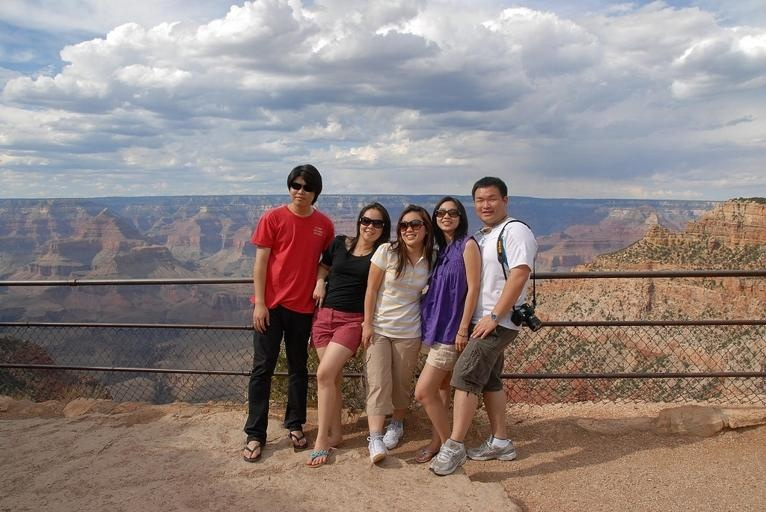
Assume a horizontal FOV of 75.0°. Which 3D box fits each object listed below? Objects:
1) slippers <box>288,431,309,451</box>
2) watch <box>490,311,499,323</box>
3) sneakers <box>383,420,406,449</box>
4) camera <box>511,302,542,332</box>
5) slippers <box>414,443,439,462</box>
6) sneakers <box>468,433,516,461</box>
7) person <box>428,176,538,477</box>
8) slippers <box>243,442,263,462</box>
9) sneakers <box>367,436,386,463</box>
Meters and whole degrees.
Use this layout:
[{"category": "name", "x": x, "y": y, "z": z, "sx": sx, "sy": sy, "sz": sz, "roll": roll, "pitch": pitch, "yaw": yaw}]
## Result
[{"category": "slippers", "x": -0.883, "y": 1.910, "z": 5.134, "sx": 0.121, "sy": 0.052, "sz": 0.228, "roll": 0, "pitch": 27, "yaw": -41}, {"category": "watch", "x": 1.028, "y": 0.571, "z": 4.691, "sx": 0.055, "sy": 0.086, "sz": 0.085, "roll": -34, "pitch": -17, "yaw": -1}, {"category": "sneakers", "x": 0.097, "y": 1.840, "z": 5.191, "sx": 0.128, "sy": 0.129, "sz": 0.341, "roll": 5, "pitch": -1, "yaw": 13}, {"category": "camera", "x": 1.383, "y": 0.582, "z": 4.837, "sx": 0.199, "sy": 0.267, "sz": 0.332, "roll": -32, "pitch": -7, "yaw": 20}, {"category": "slippers", "x": 0.422, "y": 1.963, "z": 4.971, "sx": 0.111, "sy": 0.108, "sz": 0.287, "roll": -2, "pitch": -9, "yaw": 31}, {"category": "sneakers", "x": 1.096, "y": 1.962, "z": 5.137, "sx": 0.516, "sy": 0.214, "sz": 0.214, "roll": 1, "pitch": -5, "yaw": 0}, {"category": "person", "x": 0.986, "y": 0.653, "z": 4.837, "sx": 0.821, "sy": 2.828, "sz": 0.866, "roll": 3, "pitch": 5, "yaw": 19}, {"category": "slippers", "x": -1.319, "y": 1.952, "z": 5.011, "sx": 0.212, "sy": 0.169, "sz": 0.165, "roll": 0, "pitch": 5, "yaw": -20}, {"category": "sneakers", "x": -0.085, "y": 1.892, "z": 4.889, "sx": 0.199, "sy": 0.240, "sz": 0.193, "roll": 2, "pitch": 5, "yaw": 8}]
